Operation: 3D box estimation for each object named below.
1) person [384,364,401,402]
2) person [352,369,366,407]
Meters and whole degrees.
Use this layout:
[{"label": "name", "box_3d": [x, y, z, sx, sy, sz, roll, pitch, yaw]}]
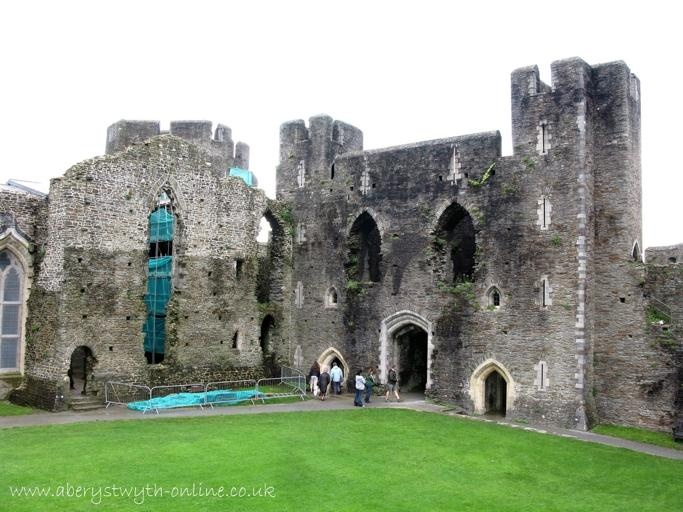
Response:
[{"label": "person", "box_3d": [2.359, 5.693, 31.796, 0.656, 1.422, 1.496, 6, 4, 4]}, {"label": "person", "box_3d": [0.790, 5.659, 29.868, 0.426, 1.278, 0.978, 6, 4, 1]}]
